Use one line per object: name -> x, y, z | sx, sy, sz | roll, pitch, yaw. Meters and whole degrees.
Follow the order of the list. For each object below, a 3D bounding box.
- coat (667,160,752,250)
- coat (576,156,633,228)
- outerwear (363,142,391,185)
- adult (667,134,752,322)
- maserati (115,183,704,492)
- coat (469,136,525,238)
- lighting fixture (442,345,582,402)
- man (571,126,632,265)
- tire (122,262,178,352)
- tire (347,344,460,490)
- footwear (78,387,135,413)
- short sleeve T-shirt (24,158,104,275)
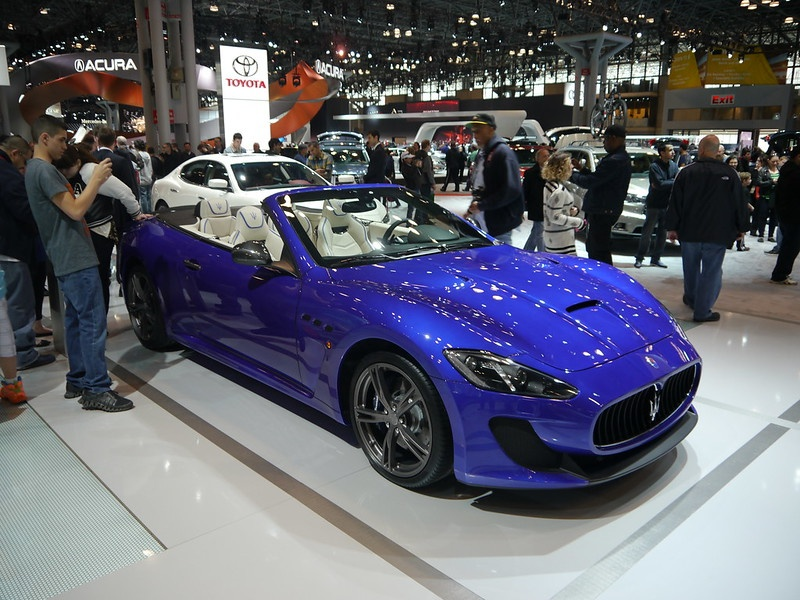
coat -> 3.543, -1.123, 5.392 | 0.911, 0.904, 0.518 | 3, 2, 9
coat -> 2.616, -1.545, 6.018 | 0.711, 0.830, 0.745 | 11, 23, 35
outerwear -> -0.564, -3.163, 10.955 | 0.517, 0.898, 0.661 | 4, 5, -16
adult -> 3.572, -0.811, 5.424 | 0.803, 2.059, 0.537 | 4, 14, 28
maserati -> -0.339, -0.031, 3.395 | 3.997, 1.183, 1.850 | 19, 27, 40
coat -> 1.082, -1.348, 5.350 | 0.671, 1.078, 0.846 | -16, 25, -12
lighting fixture -> 0.533, 0.353, 2.199 | 0.517, 0.115, 0.169 | 13, 2, 16
man -> 2.606, -1.174, 6.119 | 0.816, 2.100, 0.734 | 5, 18, 26
tire -> -2.296, 0.039, 4.292 | 0.235, 0.621, 0.624 | -10, 40, -39
tire -> 0.045, 0.653, 2.653 | 0.299, 0.839, 0.852 | -8, 1, -36
footwear -> -2.243, 0.775, 3.605 | 0.397, 0.173, 0.166 | 3, 26, -6
short sleeve T-shirt -> -2.485, -0.597, 3.384 | 0.399, 0.829, 0.294 | -5, 20, -18
